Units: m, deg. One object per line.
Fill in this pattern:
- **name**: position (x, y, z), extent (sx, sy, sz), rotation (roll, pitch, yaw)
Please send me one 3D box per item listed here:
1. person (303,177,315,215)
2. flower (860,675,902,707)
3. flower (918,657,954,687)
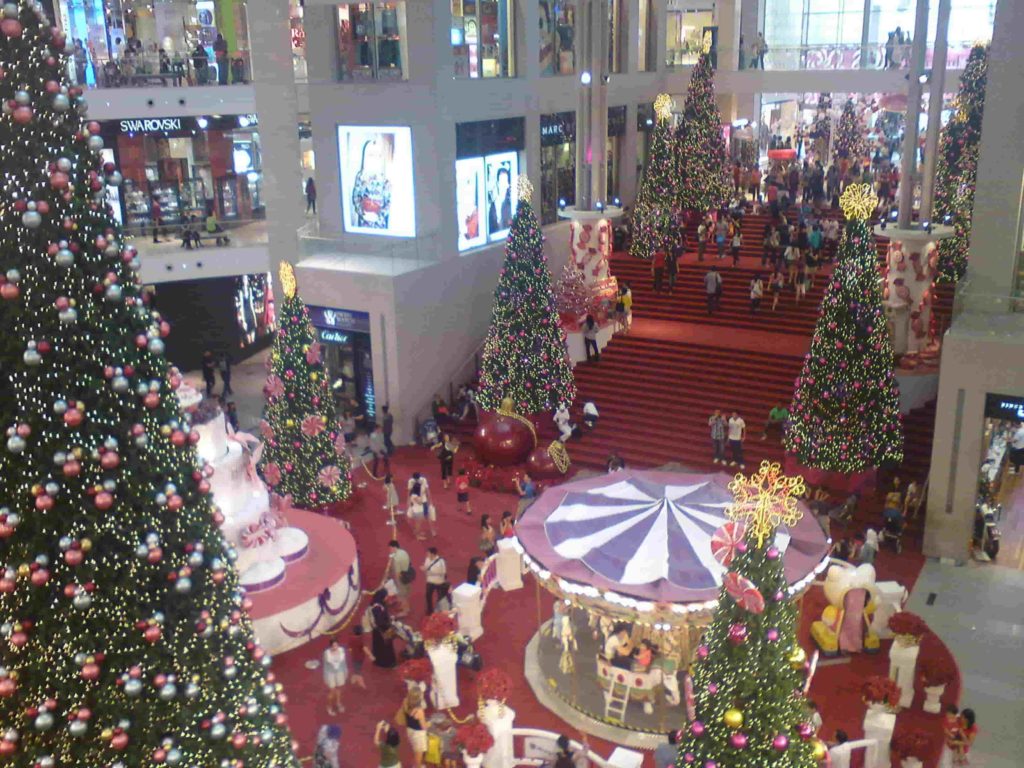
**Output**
- **person**: position (-7.556, -7.131, 30.539), extent (0.344, 1.345, 1.756), rotation (-7, 19, -15)
- **flower**: position (5.491, 4.588, 12.096), extent (0.372, 0.165, 0.437), rotation (11, 27, 31)
- **flower**: position (6.784, 4.556, 12.997), extent (0.429, 0.489, 0.458), rotation (-11, 17, -1)
